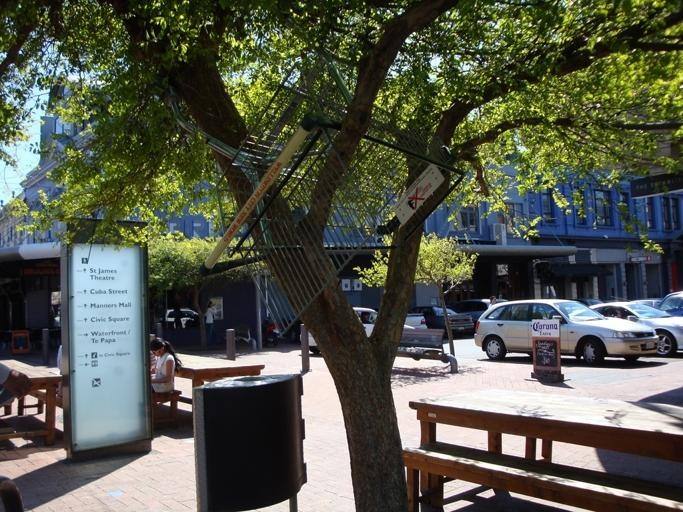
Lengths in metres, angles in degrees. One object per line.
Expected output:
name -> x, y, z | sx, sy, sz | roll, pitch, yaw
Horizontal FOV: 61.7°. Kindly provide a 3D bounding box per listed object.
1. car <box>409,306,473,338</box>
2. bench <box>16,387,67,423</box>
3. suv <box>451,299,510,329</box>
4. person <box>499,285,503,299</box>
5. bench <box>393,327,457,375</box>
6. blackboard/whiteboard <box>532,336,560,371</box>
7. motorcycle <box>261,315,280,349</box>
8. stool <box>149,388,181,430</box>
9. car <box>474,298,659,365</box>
car -> 4.866, 3.544, 29.179 | 3.556, 1.328, 1.644 | 0, -2, 43
bench -> -5.094, 2.538, 9.712 | 0.470, 0.569, 1.639 | -1, -10, -15
suv -> 6.941, 3.055, 29.511 | 1.379, 1.251, 3.119 | 1, -2, -33
person -> 11.855, 2.650, 42.426 | 0.314, 1.000, 1.398 | -2, -5, 20
bench -> 2.365, 2.625, 16.100 | 1.027, 1.155, 1.983 | 2, -6, -33
blackboard/whiteboard -> 4.811, 2.283, 13.359 | 0.074, 0.629, 0.680 | 0, 12, -24
motorcycle -> -3.460, 3.631, 27.537 | 0.735, 1.376, 1.537 | 0, -5, -9
stool -> -3.196, 2.701, 9.929 | 0.571, 0.650, 0.691 | -21, -20, 33
car -> 6.339, 2.216, 16.777 | 4.825, 1.848, 1.120 | -5, -6, 42
